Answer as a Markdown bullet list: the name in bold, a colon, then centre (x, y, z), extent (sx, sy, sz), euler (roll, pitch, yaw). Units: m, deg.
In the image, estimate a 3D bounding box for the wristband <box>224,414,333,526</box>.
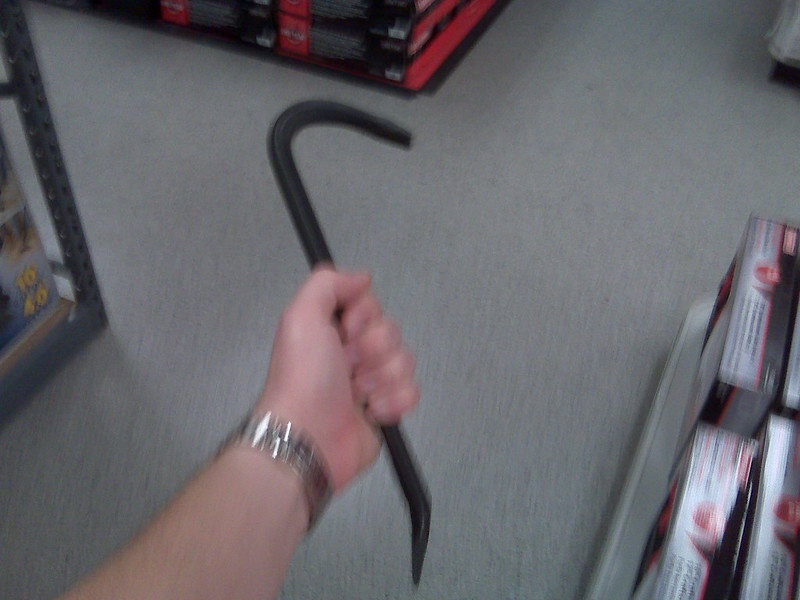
- **wristband**: centre (-0.169, 0.209, 0.807), extent (0.035, 0.134, 0.142), euler (-37, 111, -20)
